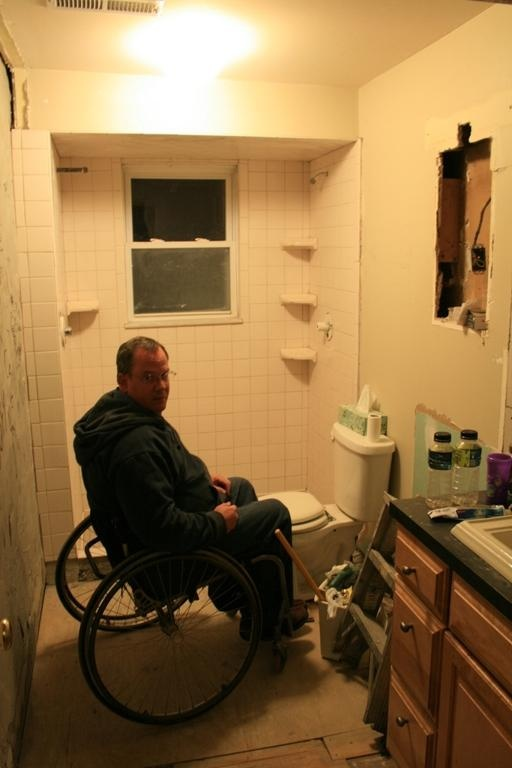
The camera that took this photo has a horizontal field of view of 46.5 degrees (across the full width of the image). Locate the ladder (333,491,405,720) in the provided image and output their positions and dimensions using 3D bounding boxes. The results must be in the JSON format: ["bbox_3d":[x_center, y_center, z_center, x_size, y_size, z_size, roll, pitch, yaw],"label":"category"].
[{"bbox_3d":[0.368,0.678,1.782,0.236,0.589,0.331,0,12,-7],"label":"ladder"}]

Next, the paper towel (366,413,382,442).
[{"bbox_3d":[0.474,0.166,2.405,0.057,0.099,0.138,-1,11,11],"label":"paper towel"}]

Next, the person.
[{"bbox_3d":[-0.209,0.381,2.018,0.741,1.005,0.525,-4,10,-15],"label":"person"}]

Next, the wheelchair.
[{"bbox_3d":[-0.356,0.721,2.124,0.798,0.630,0.846,-2,12,-24],"label":"wheelchair"}]
